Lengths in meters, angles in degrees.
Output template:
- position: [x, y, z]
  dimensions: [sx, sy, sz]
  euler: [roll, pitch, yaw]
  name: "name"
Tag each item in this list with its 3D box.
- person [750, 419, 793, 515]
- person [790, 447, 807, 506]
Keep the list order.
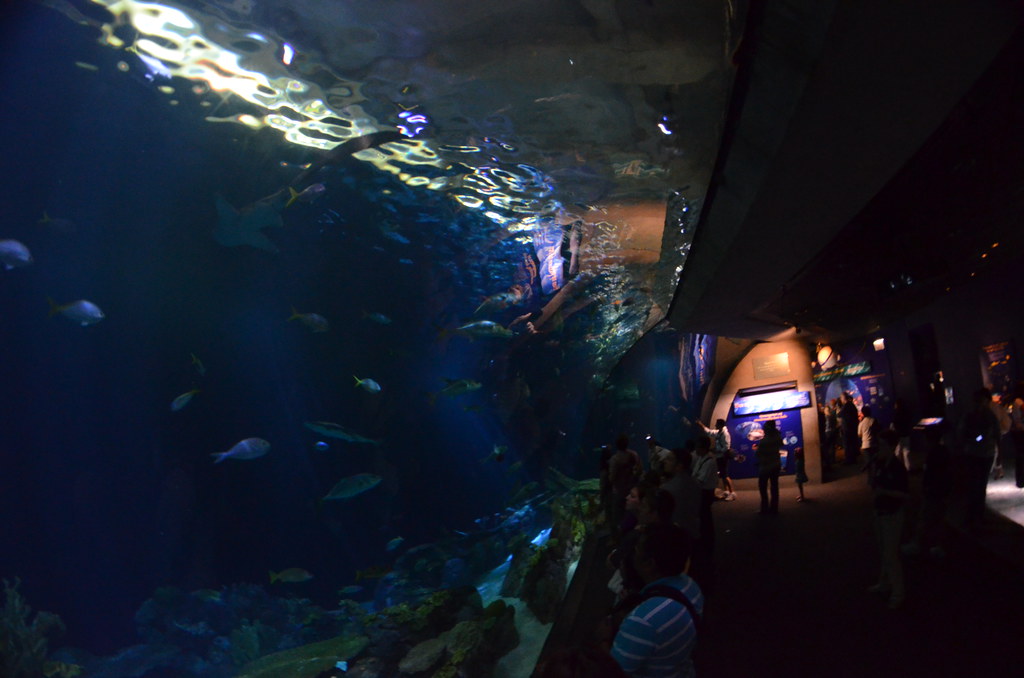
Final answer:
- position: [3.760, 1.892, 9.591]
  dimensions: [0.393, 1.359, 0.384]
  euler: [-17, -22, 41]
  name: "person"
- position: [4.034, 1.921, 9.202]
  dimensions: [0.182, 0.759, 0.350]
  euler: [-8, -17, 21]
  name: "person"
